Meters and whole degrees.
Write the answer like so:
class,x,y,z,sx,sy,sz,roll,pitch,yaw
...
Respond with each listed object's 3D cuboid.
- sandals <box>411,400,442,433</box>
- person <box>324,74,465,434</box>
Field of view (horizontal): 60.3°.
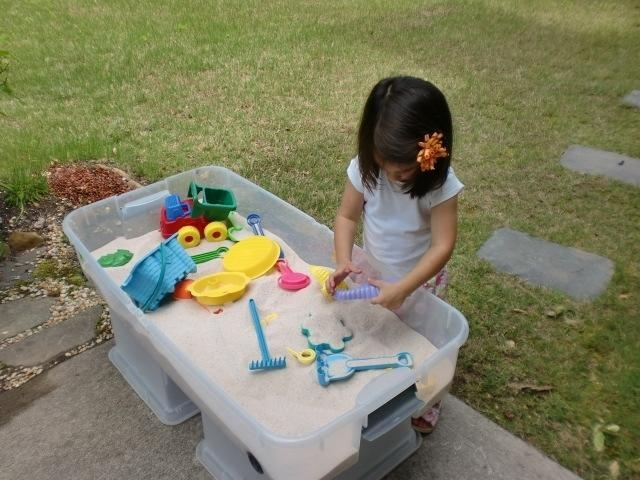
class,x,y,z,sx,sy,sz,roll,pitch,yaw
sandals,0.490,0.803,2.528,0.176,0.058,0.097,-29,41,-35
person,0.314,-0.121,2.401,0.570,1.004,0.530,15,42,13
